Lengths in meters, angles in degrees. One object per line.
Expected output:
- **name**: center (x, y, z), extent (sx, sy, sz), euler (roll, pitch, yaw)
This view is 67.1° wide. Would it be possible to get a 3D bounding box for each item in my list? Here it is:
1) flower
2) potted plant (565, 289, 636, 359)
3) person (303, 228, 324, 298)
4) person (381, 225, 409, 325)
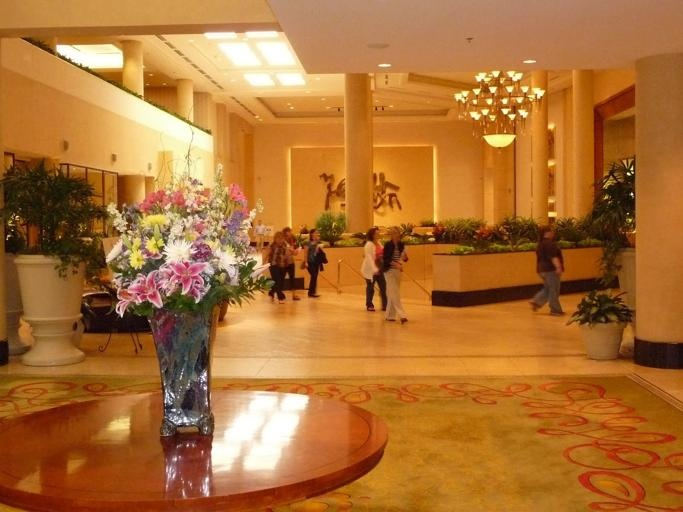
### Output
- **flower**: center (-0.638, -0.064, 2.170), extent (0.596, 0.596, 0.403), euler (-2, 2, -36)
- **potted plant**: center (3.574, 0.906, 7.240), extent (0.946, 0.880, 0.950), euler (0, -3, -6)
- **person**: center (-0.726, 0.215, 13.832), extent (0.531, 1.801, 1.232), euler (-1, 1, -5)
- **person**: center (1.031, 0.372, 9.943), extent (0.465, 1.796, 1.592), euler (0, 2, 6)
